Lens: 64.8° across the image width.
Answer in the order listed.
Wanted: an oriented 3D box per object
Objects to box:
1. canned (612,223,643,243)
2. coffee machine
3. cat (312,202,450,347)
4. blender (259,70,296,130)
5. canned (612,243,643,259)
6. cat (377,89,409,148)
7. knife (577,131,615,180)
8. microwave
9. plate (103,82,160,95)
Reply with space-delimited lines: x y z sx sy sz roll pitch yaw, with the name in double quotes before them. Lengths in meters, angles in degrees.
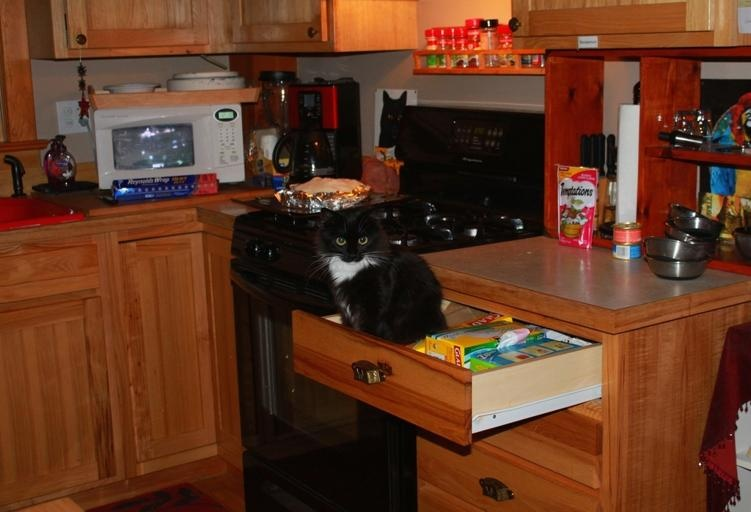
"canned" 0.728 -0.066 1.711 0.070 0.043 0.064 -1 6 -7
"coffee machine" -0.216 -0.555 2.662 0.341 0.494 0.390 -16 22 -37
"cat" -0.013 0.028 1.698 0.347 0.351 0.347 -4 16 -11
"blender" -0.482 -0.754 2.859 0.148 0.277 0.187 -16 25 -40
"canned" 0.729 -0.015 1.716 0.058 0.029 0.053 0 4 5
"cat" 0.071 -0.643 2.783 0.100 0.263 0.161 -15 20 -29
"knife" 0.717 -0.320 1.881 0.155 0.128 0.041 5 22 12
"microwave" -0.991 -0.507 2.772 0.669 0.399 0.435 -11 18 -35
"plate" -1.126 -0.768 2.718 0.213 0.048 0.381 -10 17 -21
